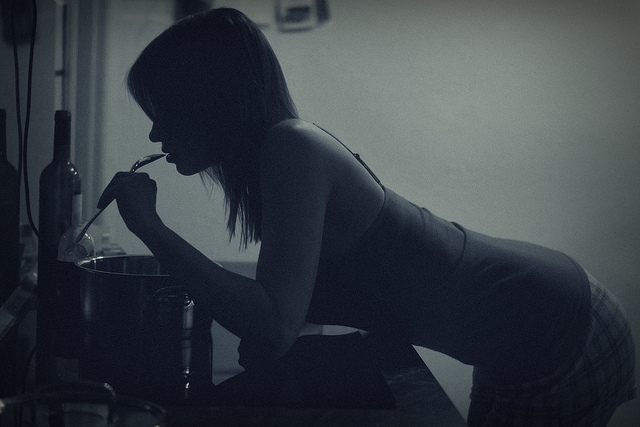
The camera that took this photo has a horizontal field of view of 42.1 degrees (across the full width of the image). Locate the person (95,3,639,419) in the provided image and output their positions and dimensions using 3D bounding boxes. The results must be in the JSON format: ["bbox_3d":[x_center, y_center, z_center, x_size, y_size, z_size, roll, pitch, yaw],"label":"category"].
[{"bbox_3d":[0.121,0.033,2.085,1.369,1.039,0.404,7,12,16],"label":"person"}]

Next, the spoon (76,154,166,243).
[{"bbox_3d":[-0.601,-0.041,2.456,0.048,0.351,0.052,40,7,9],"label":"spoon"}]

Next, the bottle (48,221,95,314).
[{"bbox_3d":[-0.673,0.147,2.258,0.121,0.235,0.305,1,11,-15],"label":"bottle"}]

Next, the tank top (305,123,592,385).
[{"bbox_3d":[0.312,0.129,2.230,0.832,0.330,0.457,20,15,4],"label":"tank top"}]
